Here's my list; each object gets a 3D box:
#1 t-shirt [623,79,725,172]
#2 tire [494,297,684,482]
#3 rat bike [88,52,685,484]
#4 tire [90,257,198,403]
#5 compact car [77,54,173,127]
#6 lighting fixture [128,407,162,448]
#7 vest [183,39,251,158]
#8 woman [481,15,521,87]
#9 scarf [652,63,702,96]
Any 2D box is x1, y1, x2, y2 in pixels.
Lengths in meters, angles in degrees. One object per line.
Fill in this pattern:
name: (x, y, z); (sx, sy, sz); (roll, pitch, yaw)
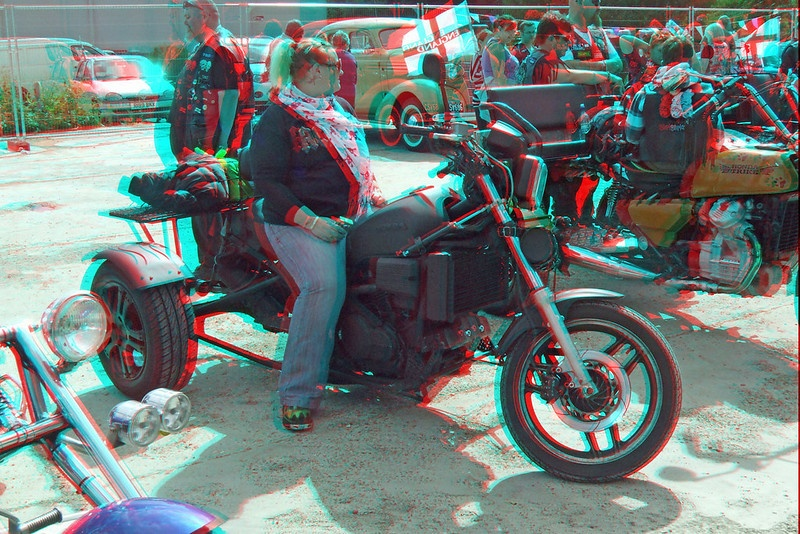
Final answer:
t-shirt: (2.193, -1.112, 4.298); (0.791, 0.715, 0.487); (14, 21, 43)
tire: (0.966, 0.680, 2.882); (1.127, 0.947, 0.185); (-7, 2, 19)
rat bike: (-0.194, -0.027, 3.727); (3.952, 1.768, 1.903); (8, 19, 27)
tire: (-1.574, 0.374, 3.357); (0.851, 0.740, 0.294); (26, 30, 33)
compact car: (-8.135, -5.475, 15.882); (1.929, 1.392, 3.244); (-21, 45, -36)
lighting fixture: (-0.909, 0.572, 1.949); (0.030, 0.157, 0.122); (13, 22, 29)
vest: (-1.290, -1.181, 3.791); (0.594, 0.813, 0.797); (2, 22, -16)
woman: (1.171, -2.418, 6.335); (0.591, 0.854, 0.537); (-6, 29, -5)
scarf: (2.172, -1.467, 4.337); (0.354, 0.227, 0.155); (-7, -24, 29)
